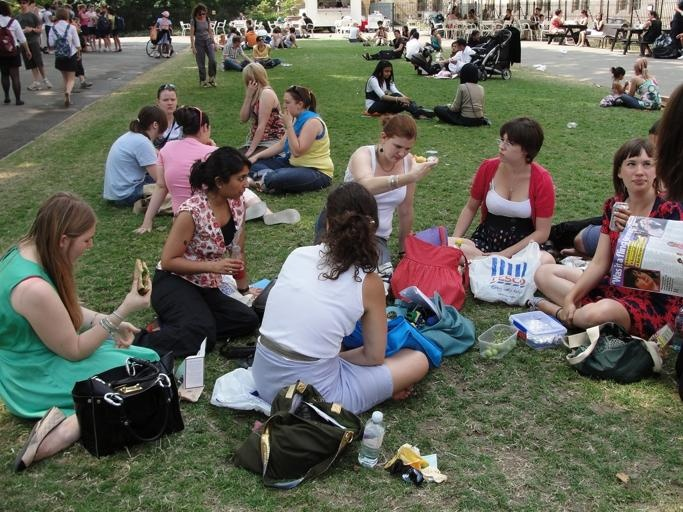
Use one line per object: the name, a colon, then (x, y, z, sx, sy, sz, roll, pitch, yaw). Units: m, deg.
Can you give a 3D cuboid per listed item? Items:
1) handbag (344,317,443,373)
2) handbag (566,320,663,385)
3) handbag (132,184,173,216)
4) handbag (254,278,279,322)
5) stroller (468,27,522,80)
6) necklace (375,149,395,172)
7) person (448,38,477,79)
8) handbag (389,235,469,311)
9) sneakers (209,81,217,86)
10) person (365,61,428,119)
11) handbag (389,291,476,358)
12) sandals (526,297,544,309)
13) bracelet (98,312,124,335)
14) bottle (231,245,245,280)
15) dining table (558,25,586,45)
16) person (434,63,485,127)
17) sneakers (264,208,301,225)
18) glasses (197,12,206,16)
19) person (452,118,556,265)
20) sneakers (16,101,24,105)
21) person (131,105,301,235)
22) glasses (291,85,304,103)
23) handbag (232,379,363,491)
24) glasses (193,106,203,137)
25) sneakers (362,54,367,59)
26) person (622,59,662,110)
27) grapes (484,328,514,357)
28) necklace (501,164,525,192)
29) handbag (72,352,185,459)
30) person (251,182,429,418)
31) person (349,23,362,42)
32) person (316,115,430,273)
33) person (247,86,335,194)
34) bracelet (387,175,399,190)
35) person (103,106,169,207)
handbag: (0.480, 0.652, 4.123, 0.460, 0.242, 0.585, -9, 8, -27)
handbag: (2.120, 0.755, 4.171, 0.711, 0.337, 0.593, -6, 1, -34)
handbag: (-2.483, -0.700, 6.924, 0.445, 0.184, 0.464, 2, 42, 1)
handbag: (-0.592, 0.354, 4.124, 0.098, 0.293, 0.292, 34, 15, -23)
stroller: (5.228, -6.660, 17.724, 1.598, 1.564, 1.268, -2, 14, 3)
necklace: (0.396, -0.910, 5.027, 0.159, 0.127, 0.222, -7, 41, -19)
person: (4.039, -6.861, 18.628, 0.664, 1.161, 0.847, 2, 17, 28)
handbag: (0.847, 0.164, 5.051, 0.746, 0.624, 0.469, 11, 17, 34)
sneakers: (-4.008, -5.307, 16.471, 0.132, 0.133, 0.304, -20, 46, -25)
person: (1.246, -3.560, 11.478, 1.581, 1.183, 0.666, 19, 32, 28)
handbag: (0.748, 0.549, 4.406, 0.641, 0.244, 0.513, 22, 48, 26)
sandals: (1.750, 0.427, 4.821, 0.081, 0.054, 0.116, -21, 14, 48)
bracelet: (-1.551, 0.456, 3.568, 0.138, 0.111, 0.153, 10, -18, -10)
bottle: (-0.906, 0.045, 4.595, 0.130, 0.310, 0.129, 2, 33, -1)
dining table: (13.365, -12.722, 30.657, 1.784, 1.265, 1.051, -1, 15, 6)
person: (2.680, -3.391, 11.171, 1.185, 1.265, 0.895, -8, 22, -26)
sneakers: (-0.741, -0.473, 6.459, 0.378, 0.195, 0.161, -2, -6, 0)
glasses: (-3.954, -6.717, 14.860, 0.167, 0.126, 0.351, -3, 21, -13)
person: (1.615, -0.618, 5.308, 0.985, 1.466, 0.899, 9, 26, 24)
sneakers: (-8.046, -3.791, 13.200, 0.163, 0.118, 0.255, -10, 24, -29)
person: (-1.571, -1.053, 6.437, 0.841, 1.350, 1.980, 13, 17, 22)
glasses: (-0.602, -2.126, 7.020, 0.056, 0.196, 0.189, -9, 22, 1)
handbag: (-0.266, 1.112, 3.239, 0.681, 0.296, 0.515, -29, 40, -33)
glasses: (-1.636, -1.534, 6.071, 0.061, 0.227, 0.224, -1, 24, -31)
sneakers: (1.027, -8.898, 23.872, 0.152, 0.211, 0.514, -2, 25, -3)
person: (6.956, -3.968, 12.441, 1.081, 1.157, 0.897, -13, 17, -26)
grapes: (1.309, 0.705, 4.366, 0.177, 0.108, 0.303, 14, 29, 29)
necklace: (1.694, -0.769, 5.207, 0.229, 0.325, 0.183, 8, 6, 32)
handbag: (-1.351, 0.947, 3.432, 0.609, 0.502, 0.386, -15, 21, -42)
person: (0.022, 0.363, 3.979, 1.152, 1.425, 1.117, 26, 37, 26)
person: (1.020, -15.984, 38.549, 0.884, 0.976, 1.302, 2, 21, 0)
person: (0.370, -0.572, 5.114, 0.930, 1.591, 1.288, -2, 20, -27)
person: (-0.768, -1.672, 7.452, 1.212, 1.433, 1.199, 14, 20, 26)
bracelet: (0.469, -0.666, 4.807, 0.040, 0.113, 0.080, 6, 6, -20)
person: (-2.729, -1.265, 7.256, 0.942, 1.507, 0.831, -9, 19, -38)
